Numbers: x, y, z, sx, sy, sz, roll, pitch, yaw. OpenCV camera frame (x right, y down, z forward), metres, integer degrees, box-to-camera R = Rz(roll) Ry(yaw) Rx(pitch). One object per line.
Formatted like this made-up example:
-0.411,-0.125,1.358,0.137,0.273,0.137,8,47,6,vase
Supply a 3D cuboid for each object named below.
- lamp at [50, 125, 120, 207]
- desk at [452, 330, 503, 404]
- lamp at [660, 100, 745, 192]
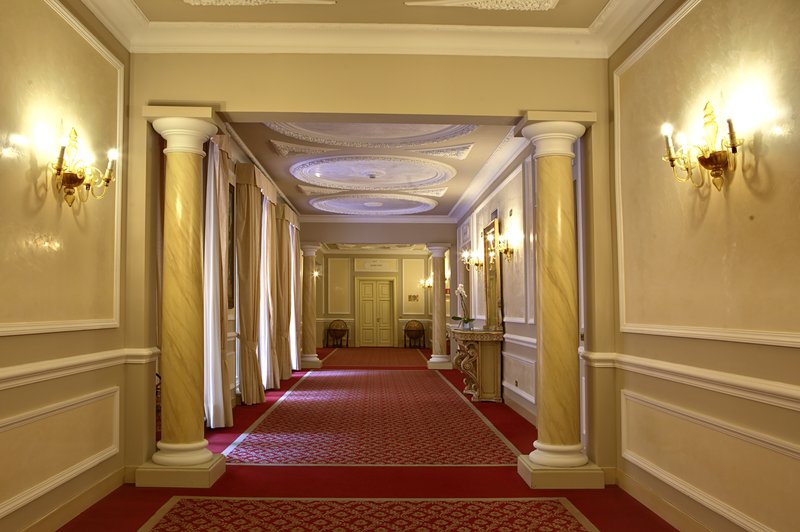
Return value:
-2.710,-0.833,4.142,0.327,0.606,0.509,-2,0,24,lamp
1.480,1.928,9.781,0.896,1.255,1.470,4,-7,-1,desk
2.216,-0.895,3.792,0.403,0.707,0.889,-1,-1,2,lamp
